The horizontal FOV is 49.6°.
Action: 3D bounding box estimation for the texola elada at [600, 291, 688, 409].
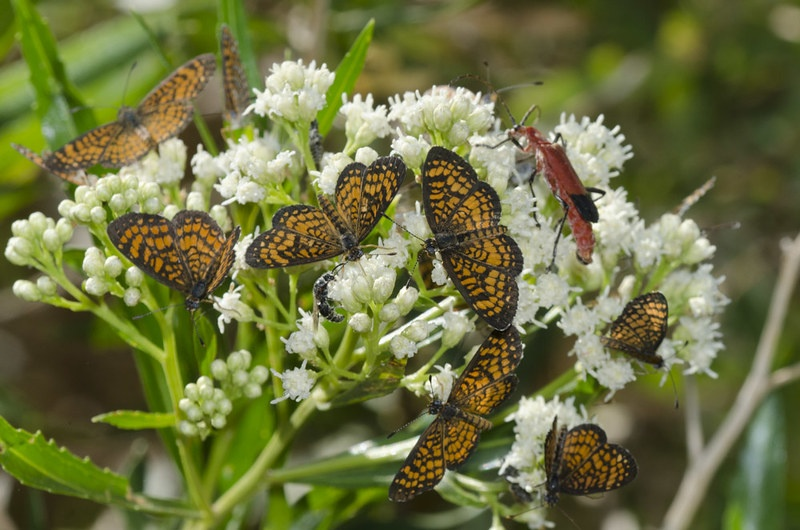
[{"bbox_3d":[1.106,0.281,4.025,0.329,0.297,0.332,12,81,5],"label":"texola elada"}]
